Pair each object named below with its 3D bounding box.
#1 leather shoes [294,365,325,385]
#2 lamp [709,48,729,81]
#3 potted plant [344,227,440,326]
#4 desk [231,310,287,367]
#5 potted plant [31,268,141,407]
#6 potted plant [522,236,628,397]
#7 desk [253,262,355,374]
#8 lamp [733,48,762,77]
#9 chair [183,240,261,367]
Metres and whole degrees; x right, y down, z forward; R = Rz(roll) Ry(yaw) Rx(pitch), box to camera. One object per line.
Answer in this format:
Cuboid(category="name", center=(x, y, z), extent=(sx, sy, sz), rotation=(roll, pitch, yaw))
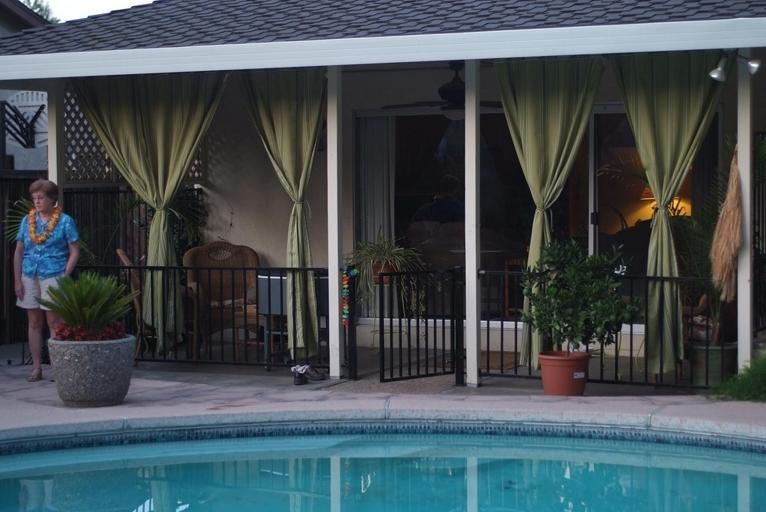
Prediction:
Cuboid(category="leather shoes", center=(-0.807, 1.273, 8.049), extent=(0.225, 0.134, 0.219), rotation=(0, -4, -1))
Cuboid(category="lamp", center=(3.165, -1.820, 7.181), extent=(0.108, 0.328, 0.116), rotation=(29, -9, -31))
Cuboid(category="potted plant", center=(0.081, 0.219, 9.125), extent=(0.835, 0.882, 1.014), rotation=(1, -6, -5))
Cuboid(category="desk", center=(-1.395, 0.931, 9.074), extent=(0.539, 0.801, 1.049), rotation=(1, -2, -22))
Cuboid(category="potted plant", center=(-2.804, 0.802, 7.455), extent=(1.019, 1.351, 1.047), rotation=(2, -3, -35))
Cuboid(category="potted plant", center=(1.805, 0.535, 7.925), extent=(1.262, 1.875, 1.279), rotation=(2, 4, 32))
Cuboid(category="desk", center=(-0.863, 0.632, 8.676), extent=(1.372, 1.559, 1.041), rotation=(0, 2, 14))
Cuboid(category="lamp", center=(3.405, -1.851, 7.175), extent=(0.200, 0.270, 0.305), rotation=(-3, -5, 23))
Cuboid(category="chair", center=(-2.007, 0.491, 9.461), extent=(1.203, 1.955, 1.378), rotation=(0, -2, -12))
